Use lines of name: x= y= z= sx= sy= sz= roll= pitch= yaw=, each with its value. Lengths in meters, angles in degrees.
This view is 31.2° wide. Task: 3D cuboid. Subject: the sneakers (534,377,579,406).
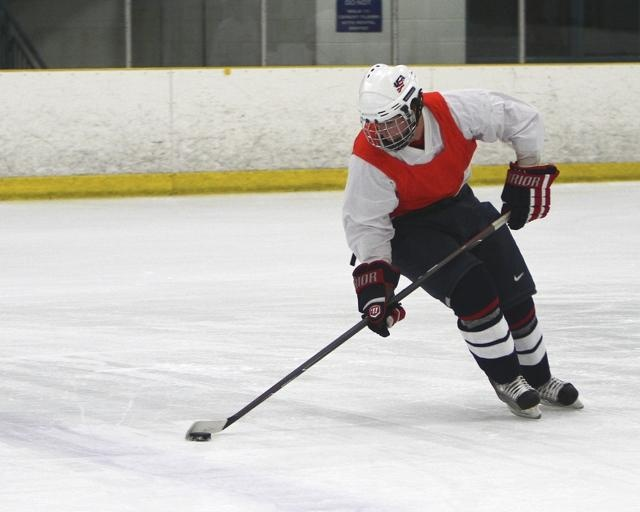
sneakers: x=0.842 y=0.479 z=4.124 sx=0.071 sy=0.073 sz=0.192 roll=-40 pitch=26 yaw=-21

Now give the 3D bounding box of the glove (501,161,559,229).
glove: x=0.756 y=-0.216 z=4.192 sx=0.324 sy=0.224 sz=0.205 roll=-4 pitch=6 yaw=-14

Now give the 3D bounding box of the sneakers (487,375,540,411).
sneakers: x=0.686 y=0.481 z=4.028 sx=0.081 sy=0.116 sz=0.191 roll=-5 pitch=11 yaw=-27

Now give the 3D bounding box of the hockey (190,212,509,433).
hockey: x=0.127 y=0.289 z=4.525 sx=1.626 sy=0.108 sz=0.208 roll=-26 pitch=36 yaw=-18

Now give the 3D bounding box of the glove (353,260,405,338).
glove: x=0.214 y=0.153 z=4.061 sx=0.150 sy=0.280 sz=0.139 roll=-5 pitch=12 yaw=-27

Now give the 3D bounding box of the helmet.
helmet: x=0.248 y=-0.511 z=4.024 sx=0.227 sy=0.298 sz=0.213 roll=0 pitch=11 yaw=-4
